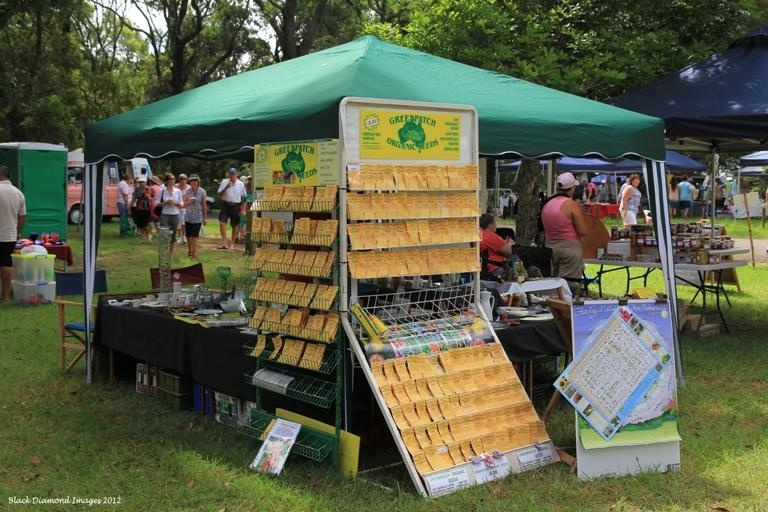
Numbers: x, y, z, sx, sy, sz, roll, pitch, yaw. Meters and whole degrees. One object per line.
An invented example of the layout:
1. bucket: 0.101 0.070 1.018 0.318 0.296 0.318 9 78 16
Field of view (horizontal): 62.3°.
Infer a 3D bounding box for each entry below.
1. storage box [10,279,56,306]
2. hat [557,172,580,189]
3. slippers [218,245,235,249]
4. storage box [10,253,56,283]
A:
1. storage box: -6.439 0.689 11.569 0.771 0.459 0.783 -2 -3 39
2. hat: 2.602 -1.052 8.984 0.214 0.172 0.303 8 35 36
3. slippers: -4.229 -0.192 17.102 0.463 0.120 0.164 6 -8 -45
4. storage box: -6.499 0.232 11.713 0.663 0.476 0.521 2 -2 -43
